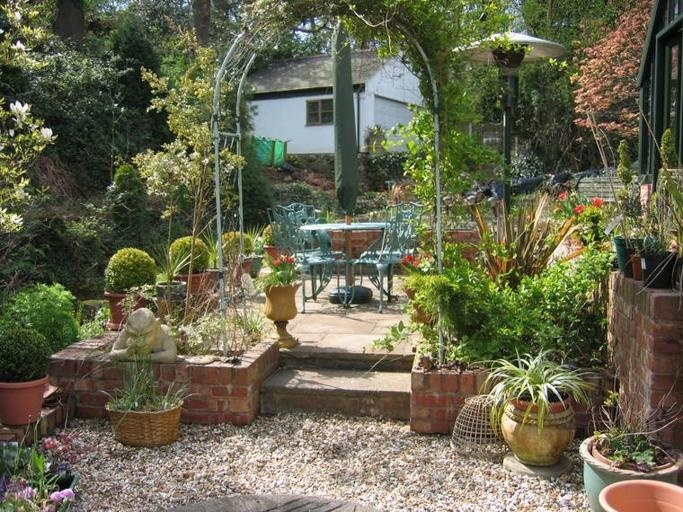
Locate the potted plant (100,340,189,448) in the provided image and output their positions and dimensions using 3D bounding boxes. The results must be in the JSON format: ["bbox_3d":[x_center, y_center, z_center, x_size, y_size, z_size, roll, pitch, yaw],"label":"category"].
[{"bbox_3d":[-1.530,1.212,5.407,0.565,0.745,0.570,0,6,-28],"label":"potted plant"}]

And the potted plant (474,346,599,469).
[{"bbox_3d":[1.432,1.104,4.960,0.613,0.807,0.751,0,7,17],"label":"potted plant"}]

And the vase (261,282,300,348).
[{"bbox_3d":[-0.549,0.548,6.380,0.367,0.574,0.372,-6,4,-18],"label":"vase"}]

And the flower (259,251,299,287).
[{"bbox_3d":[-0.522,0.145,6.300,0.279,0.348,0.261,-9,-21,14],"label":"flower"}]

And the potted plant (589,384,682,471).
[{"bbox_3d":[1.853,1.129,4.497,0.294,0.226,0.465,-9,15,-5],"label":"potted plant"}]
